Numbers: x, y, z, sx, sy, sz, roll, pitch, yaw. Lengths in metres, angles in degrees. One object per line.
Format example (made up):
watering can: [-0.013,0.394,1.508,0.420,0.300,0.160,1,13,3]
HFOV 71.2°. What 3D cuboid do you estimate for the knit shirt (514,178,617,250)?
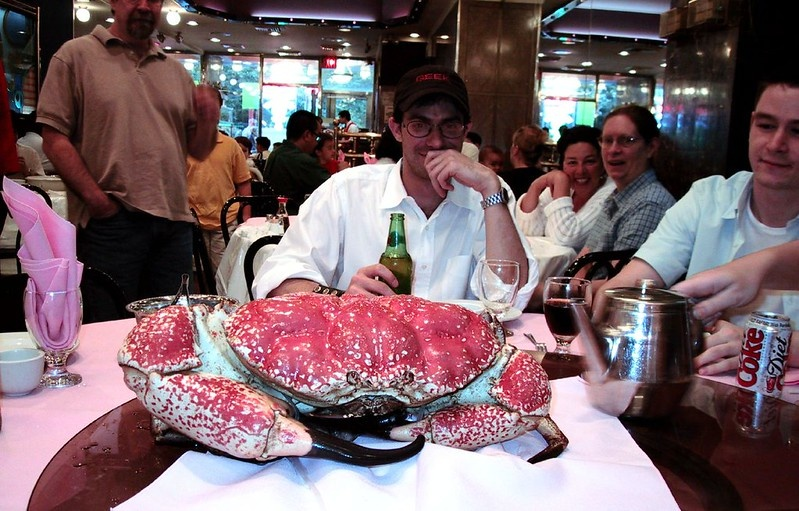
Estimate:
knit shirt: [1.429,-0.401,4.382,0.814,0.311,0.640,-1,-6,35]

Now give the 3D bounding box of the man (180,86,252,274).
man: [-1.754,-0.585,5.309,0.739,1.935,0.672,-2,23,-16]

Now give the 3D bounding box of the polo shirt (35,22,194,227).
polo shirt: [-1.377,-0.633,2.808,0.723,0.967,0.298,-6,15,-28]

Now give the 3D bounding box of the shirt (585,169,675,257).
shirt: [1.390,-0.249,3.375,0.294,0.477,0.556,25,12,1]

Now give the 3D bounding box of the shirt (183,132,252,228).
shirt: [-1.764,-0.708,5.335,0.799,0.948,0.383,-4,10,8]

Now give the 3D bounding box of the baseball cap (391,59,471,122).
baseball cap: [0.127,-0.625,2.143,0.313,0.185,0.371,-3,8,-25]

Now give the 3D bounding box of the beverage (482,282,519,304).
beverage: [0.306,0.113,1.683,0.079,0.051,0.072,-1,-2,-6]

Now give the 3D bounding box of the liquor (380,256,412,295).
liquor: [-0.007,0.065,1.750,0.099,0.122,0.128,1,13,-3]

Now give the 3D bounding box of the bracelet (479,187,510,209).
bracelet: [0.355,-0.198,2.081,0.107,0.063,0.105,-1,-8,3]

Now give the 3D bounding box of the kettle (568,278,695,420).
kettle: [0.528,0.221,1.226,0.317,0.225,0.204,11,-14,-33]

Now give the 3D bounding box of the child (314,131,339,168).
child: [-1.048,-1.435,7.959,0.334,0.572,0.489,3,16,16]

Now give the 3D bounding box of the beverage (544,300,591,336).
beverage: [0.492,0.167,1.614,0.130,0.104,0.143,-1,-17,-2]
